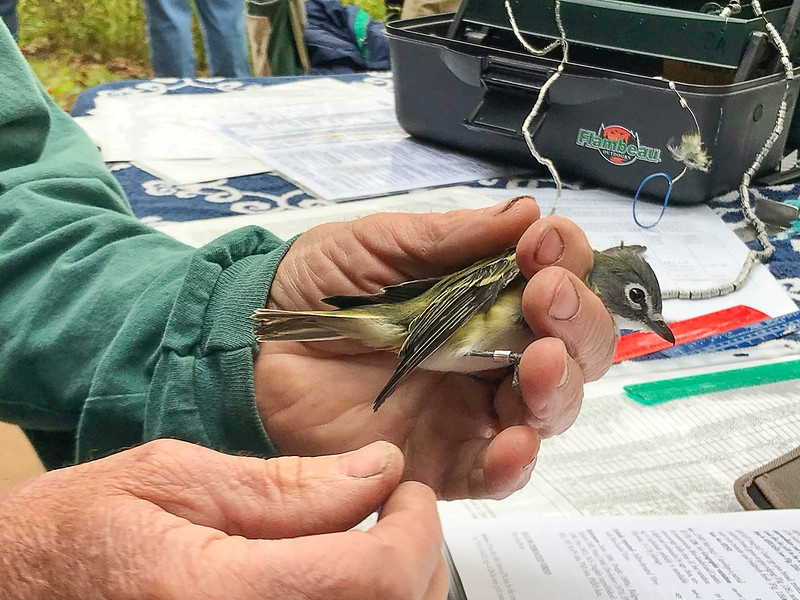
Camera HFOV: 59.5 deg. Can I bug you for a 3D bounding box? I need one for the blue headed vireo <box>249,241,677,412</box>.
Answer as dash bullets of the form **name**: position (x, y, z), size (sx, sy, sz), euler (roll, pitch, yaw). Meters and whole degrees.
- **blue headed vireo**: position (0.091, 0.022, 0.945), size (0.517, 0.122, 0.173), euler (2, 47, 8)
